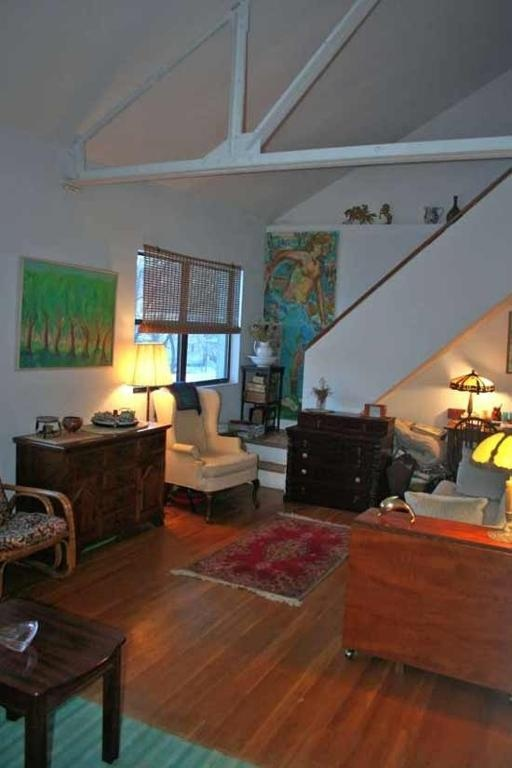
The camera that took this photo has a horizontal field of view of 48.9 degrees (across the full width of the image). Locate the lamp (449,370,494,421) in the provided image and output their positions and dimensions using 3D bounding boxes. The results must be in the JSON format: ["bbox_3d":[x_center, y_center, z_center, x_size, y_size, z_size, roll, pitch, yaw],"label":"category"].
[{"bbox_3d":[2.321,0.088,5.990,0.507,0.563,0.513,7,8,40],"label":"lamp"}]

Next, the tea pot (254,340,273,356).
[{"bbox_3d":[0.060,-0.439,7.069,0.174,0.187,0.302,0,4,-43],"label":"tea pot"}]

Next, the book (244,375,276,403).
[{"bbox_3d":[0.029,0.021,6.953,0.314,0.377,0.395,3,3,23],"label":"book"}]

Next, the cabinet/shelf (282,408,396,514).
[{"bbox_3d":[0.825,0.740,5.438,0.921,0.889,0.587,7,9,31],"label":"cabinet/shelf"}]

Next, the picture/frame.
[{"bbox_3d":[-1.406,-0.496,4.175,1.077,0.755,0.028,9,7,30],"label":"picture/frame"}]

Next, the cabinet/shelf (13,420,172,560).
[{"bbox_3d":[-1.183,0.733,4.147,0.564,0.763,1.046,6,6,31],"label":"cabinet/shelf"}]

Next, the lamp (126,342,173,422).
[{"bbox_3d":[-0.949,-0.004,4.831,0.382,0.707,0.503,1,3,-27],"label":"lamp"}]

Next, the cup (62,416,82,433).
[{"bbox_3d":[-1.298,0.287,3.973,0.121,0.091,0.115,2,1,0],"label":"cup"}]

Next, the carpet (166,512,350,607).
[{"bbox_3d":[0.183,1.225,4.092,0.880,0.042,1.490,4,3,27],"label":"carpet"}]
